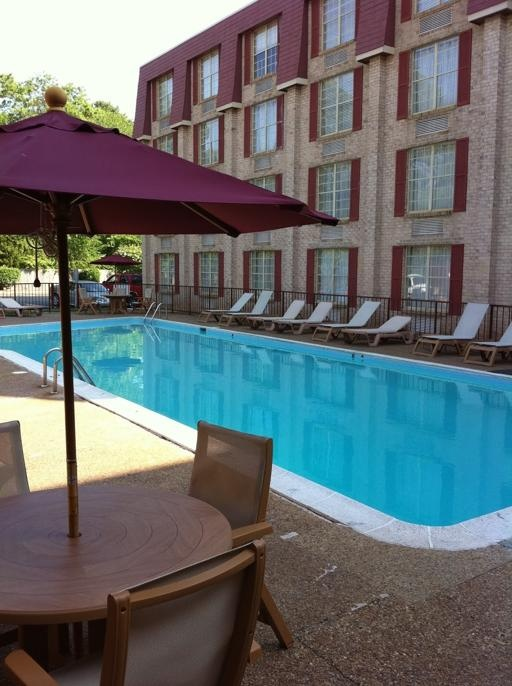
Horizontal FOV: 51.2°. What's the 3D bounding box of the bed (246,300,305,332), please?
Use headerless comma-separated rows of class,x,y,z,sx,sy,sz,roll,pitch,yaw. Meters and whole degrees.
bed,0.683,-0.942,18.818,1.123,1.068,1.851,-4,8,-41

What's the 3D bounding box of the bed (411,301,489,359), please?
bed,5.071,-0.393,13.946,1.397,1.596,1.728,-6,9,-42

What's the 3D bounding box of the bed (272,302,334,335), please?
bed,1.939,-0.821,18.186,1.936,1.033,1.071,-3,5,-34

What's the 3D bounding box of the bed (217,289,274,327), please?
bed,-0.292,-1.329,20.512,2.095,1.293,1.173,-5,7,-39

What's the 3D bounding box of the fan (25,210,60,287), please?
fan,-1.254,-0.582,3.141,0.183,0.547,0.167,-17,-14,36
